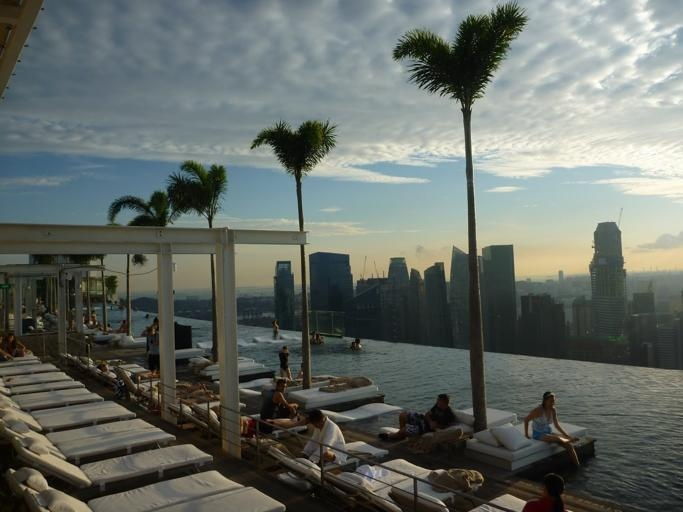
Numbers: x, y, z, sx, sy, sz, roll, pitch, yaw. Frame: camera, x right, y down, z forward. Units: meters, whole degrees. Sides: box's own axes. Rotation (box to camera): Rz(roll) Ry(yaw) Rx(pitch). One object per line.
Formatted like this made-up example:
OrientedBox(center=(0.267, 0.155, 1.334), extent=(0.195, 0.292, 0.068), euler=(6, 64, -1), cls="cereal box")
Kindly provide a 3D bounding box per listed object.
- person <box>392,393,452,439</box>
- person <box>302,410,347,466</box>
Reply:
OrientedBox(center=(2.155, 4.414, 14.062), extent=(1.993, 0.999, 1.013), euler=(-3, 5, -15), cls="person")
OrientedBox(center=(-0.426, 4.110, 11.691), extent=(1.001, 1.098, 1.083), euler=(-5, -7, 39), cls="person")
